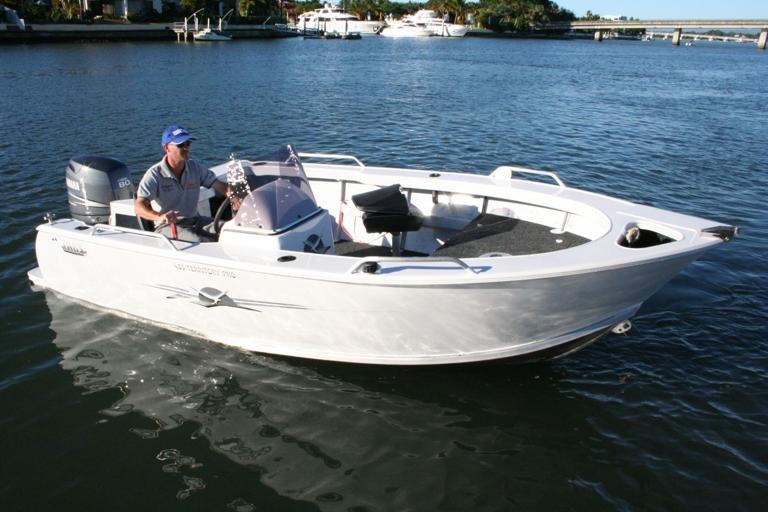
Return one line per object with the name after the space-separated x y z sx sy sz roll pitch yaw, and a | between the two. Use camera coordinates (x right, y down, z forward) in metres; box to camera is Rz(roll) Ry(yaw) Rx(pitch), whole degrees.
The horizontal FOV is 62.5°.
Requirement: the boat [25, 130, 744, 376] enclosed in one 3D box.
-0.001 -0.097 7.486 9.100 1.902 3.200 8 29 16 | boat

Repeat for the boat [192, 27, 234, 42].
-15.524 -19.493 56.161 1.434 0.881 3.875 18 25 22 | boat

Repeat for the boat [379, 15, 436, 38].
2.225 -28.691 79.524 7.746 1.805 3.311 4 23 10 | boat
